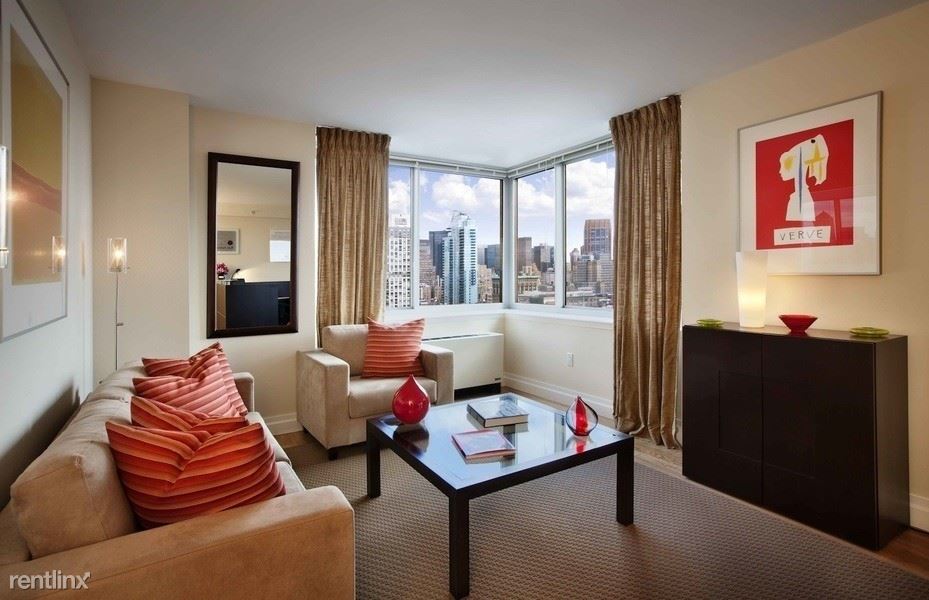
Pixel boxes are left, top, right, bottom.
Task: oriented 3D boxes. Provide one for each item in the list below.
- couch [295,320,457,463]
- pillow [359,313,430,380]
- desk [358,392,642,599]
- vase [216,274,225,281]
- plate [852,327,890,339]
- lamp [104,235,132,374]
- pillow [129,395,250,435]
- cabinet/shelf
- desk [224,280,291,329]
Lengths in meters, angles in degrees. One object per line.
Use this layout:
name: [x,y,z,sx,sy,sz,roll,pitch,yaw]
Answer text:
couch: [-0.844,0.765,5.300,1.418,1.090,0.956,1,-5,-33]
pillow: [-0.650,0.431,5.373,0.498,0.506,0.191,2,-22,-9]
desk: [0.071,1.032,4.006,1.200,0.533,1.204,-4,6,-31]
vase: [-2.106,-0.193,5.152,0.038,0.049,0.038,5,-3,-33]
plate: [2.683,0.209,3.944,0.198,0.061,0.246,3,5,39]
lamp: [-2.524,0.089,4.326,0.180,1.060,0.200,-3,8,-44]
pillow: [-1.477,0.619,3.102,0.316,0.101,0.318,4,-14,37]
cabinet/shelf: [2.279,0.938,3.973,0.467,1.275,1.325,4,-5,-41]
desk: [-1.856,0.053,5.424,0.489,0.474,0.261,-2,-4,-10]
